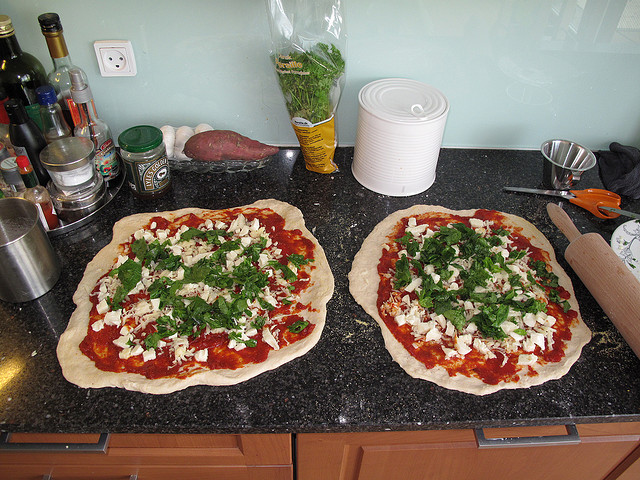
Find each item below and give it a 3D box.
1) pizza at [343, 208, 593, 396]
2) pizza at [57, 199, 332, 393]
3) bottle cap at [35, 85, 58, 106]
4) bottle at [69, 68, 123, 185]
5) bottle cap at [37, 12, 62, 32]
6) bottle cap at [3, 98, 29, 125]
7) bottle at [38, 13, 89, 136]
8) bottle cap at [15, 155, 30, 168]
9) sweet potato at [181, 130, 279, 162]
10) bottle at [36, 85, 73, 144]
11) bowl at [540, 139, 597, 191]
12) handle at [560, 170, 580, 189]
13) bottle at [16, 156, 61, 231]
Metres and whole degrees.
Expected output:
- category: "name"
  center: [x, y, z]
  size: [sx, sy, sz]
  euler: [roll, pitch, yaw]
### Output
- category: "pizza"
  center: [0.455, 0.128, 1.412]
  size: [0.669, 0.105, 0.681]
  euler: [16, 46, 11]
- category: "pizza"
  center: [-0.330, 0.109, 1.389]
  size: [0.730, 0.146, 0.670]
  euler: [2, 41, 1]
- category: "bottle cap"
  center: [-0.813, -0.425, 1.414]
  size: [0.062, 0.047, 0.060]
  euler: [-3, 57, -22]
- category: "bottle"
  center: [-0.754, -0.351, 1.562]
  size: [0.121, 0.399, 0.119]
  euler: [2, 38, -2]
- category: "bottle cap"
  center: [-0.799, -0.639, 1.411]
  size: [0.060, 0.044, 0.060]
  euler: [7, 40, 6]
- category: "bottle cap"
  center: [-0.899, -0.376, 1.413]
  size: [0.074, 0.070, 0.064]
  euler: [-11, 60, -44]
- category: "bottle"
  center: [-0.831, -0.490, 1.567]
  size: [0.122, 0.444, 0.127]
  euler: [5, 40, -4]
- category: "bottle cap"
  center: [-0.854, -0.224, 1.383]
  size: [0.033, 0.032, 0.034]
  euler: [4, 47, -10]
- category: "sweet potato"
  center: [-0.315, -0.320, 1.702]
  size: [0.320, 0.123, 0.110]
  euler: [5, 37, -13]
- category: "bottle"
  center: [-0.795, -0.395, 1.523]
  size: [0.100, 0.178, 0.122]
  euler: [-9, 40, -10]
- category: "bowl"
  center: [0.851, -0.240, 1.680]
  size: [0.163, 0.125, 0.185]
  euler: [6, 48, 4]
- category: "handle"
  center: [0.864, -0.203, 1.629]
  size: [0.060, 0.058, 0.043]
  euler: [9, 14, -22]
- category: "bottle"
  center: [-0.839, -0.142, 1.439]
  size: [0.108, 0.179, 0.098]
  euler: [31, 39, 33]
